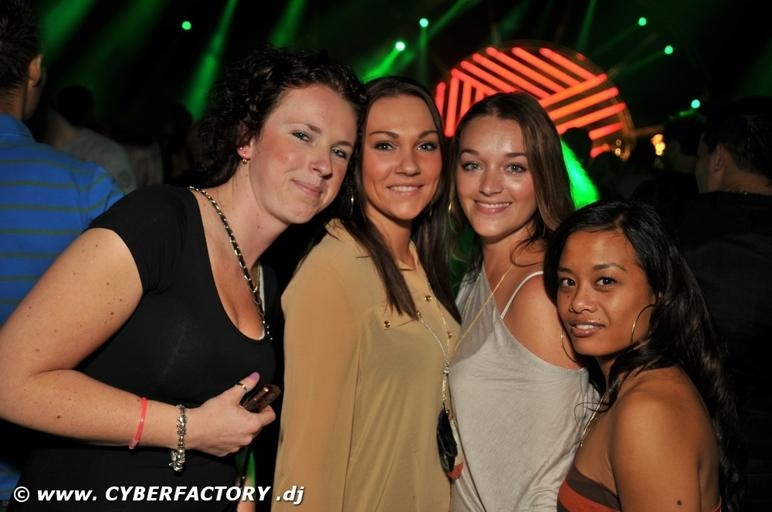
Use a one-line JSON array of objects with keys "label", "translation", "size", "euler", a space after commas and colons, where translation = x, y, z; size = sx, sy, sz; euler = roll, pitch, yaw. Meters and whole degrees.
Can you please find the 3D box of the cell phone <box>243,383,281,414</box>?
[{"label": "cell phone", "translation": [-0.692, 0.795, 4.021], "size": [0.207, 0.117, 0.055], "euler": [-35, 4, -24]}]
